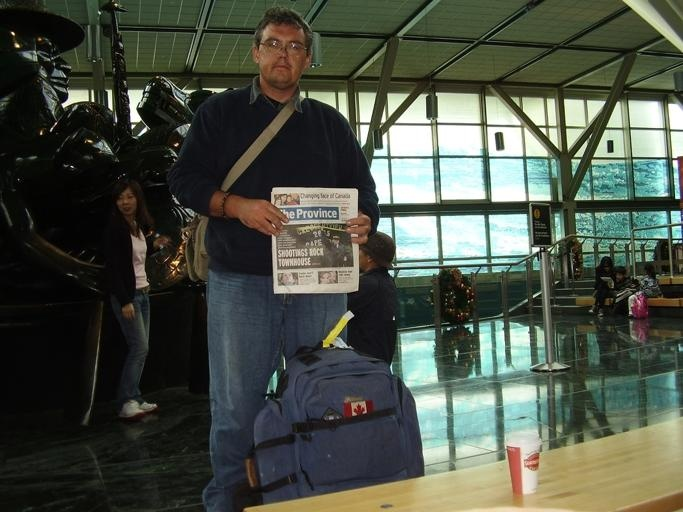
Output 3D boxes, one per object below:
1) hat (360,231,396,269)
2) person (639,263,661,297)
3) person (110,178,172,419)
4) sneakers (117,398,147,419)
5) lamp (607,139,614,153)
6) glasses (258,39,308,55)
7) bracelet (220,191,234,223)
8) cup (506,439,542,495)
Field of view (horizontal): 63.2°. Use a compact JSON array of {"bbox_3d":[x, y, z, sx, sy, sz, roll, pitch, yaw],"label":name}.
[{"bbox_3d":[0.263,-0.038,3.890,0.255,0.130,0.270,30,22,20],"label":"hat"},{"bbox_3d":[6.533,0.515,11.675,0.403,0.657,0.968,5,4,29],"label":"person"},{"bbox_3d":[-1.850,0.366,4.963,0.448,2.076,0.537,2,3,-14],"label":"person"},{"bbox_3d":[-1.834,1.339,4.832,0.203,0.153,0.112,5,4,33],"label":"sneakers"},{"bbox_3d":[8.692,-3.584,17.929,0.157,0.376,0.311,5,4,28],"label":"lamp"},{"bbox_3d":[-0.274,-0.961,2.562,0.205,0.060,0.054,2,4,-7],"label":"glasses"},{"bbox_3d":[-0.505,-0.226,2.411,0.054,0.105,0.038,6,4,40],"label":"bracelet"},{"bbox_3d":[0.607,0.697,1.858,0.149,0.163,0.129,2,-19,-6],"label":"cup"}]
